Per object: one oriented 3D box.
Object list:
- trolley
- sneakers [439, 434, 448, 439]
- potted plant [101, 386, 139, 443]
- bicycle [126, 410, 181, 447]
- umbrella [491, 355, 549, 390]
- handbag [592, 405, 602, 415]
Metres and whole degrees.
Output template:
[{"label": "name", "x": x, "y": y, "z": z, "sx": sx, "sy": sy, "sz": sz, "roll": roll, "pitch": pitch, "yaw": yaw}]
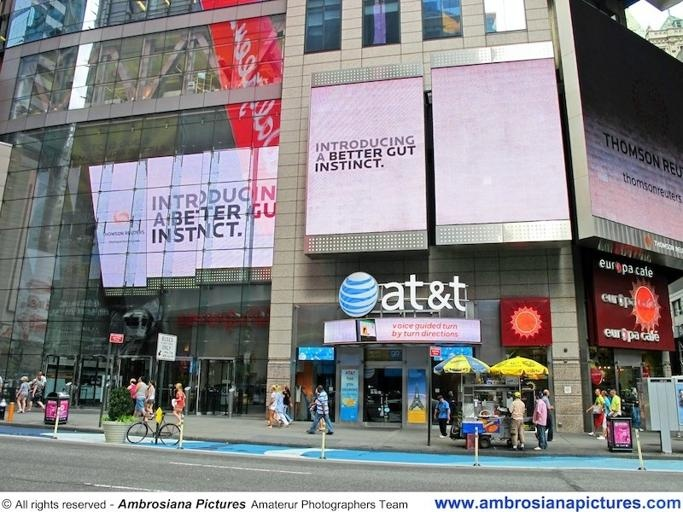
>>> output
[{"label": "trolley", "x": 6.130, "y": 6.596, "z": 22.483, "sx": 2.778, "sy": 2.544, "sz": 1.532, "roll": -2, "pitch": -10, "yaw": 8}, {"label": "sneakers", "x": 4.402, "y": 7.867, "z": 23.217, "sx": 0.128, "sy": 0.155, "sz": 0.354, "roll": -16, "pitch": -30, "yaw": 35}, {"label": "potted plant", "x": -8.489, "y": 5.796, "z": 19.771, "sx": 1.264, "sy": 2.002, "sz": 1.244, "roll": 10, "pitch": -17, "yaw": 0}, {"label": "bicycle", "x": -7.005, "y": 6.401, "z": 20.013, "sx": 2.092, "sy": 1.303, "sz": 0.892, "roll": 0, "pitch": -4, "yaw": 6}, {"label": "umbrella", "x": 8.014, "y": 4.999, "z": 23.016, "sx": 2.562, "sy": 0.913, "sz": 2.517, "roll": 11, "pitch": -20, "yaw": -23}, {"label": "handbag", "x": 11.726, "y": 7.115, "z": 24.634, "sx": 0.342, "sy": 0.433, "sz": 0.459, "roll": 6, "pitch": -21, "yaw": -11}]
